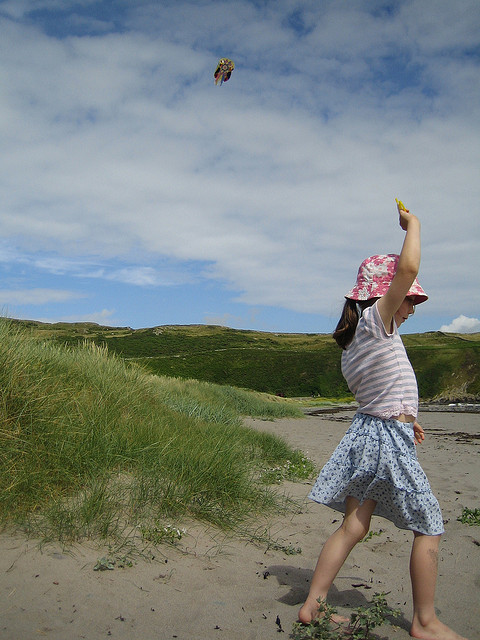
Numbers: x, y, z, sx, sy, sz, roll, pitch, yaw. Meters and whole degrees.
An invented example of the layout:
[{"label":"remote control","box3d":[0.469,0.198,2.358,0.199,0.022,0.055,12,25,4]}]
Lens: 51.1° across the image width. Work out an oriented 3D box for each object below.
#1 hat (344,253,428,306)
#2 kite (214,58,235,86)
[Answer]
[{"label":"hat","box3d":[0.909,-0.277,3.131,0.514,0.276,0.560,-3,8,-8]},{"label":"kite","box3d":[-0.319,-4.783,9.718,0.279,0.582,0.850,7,-4,-6]}]
